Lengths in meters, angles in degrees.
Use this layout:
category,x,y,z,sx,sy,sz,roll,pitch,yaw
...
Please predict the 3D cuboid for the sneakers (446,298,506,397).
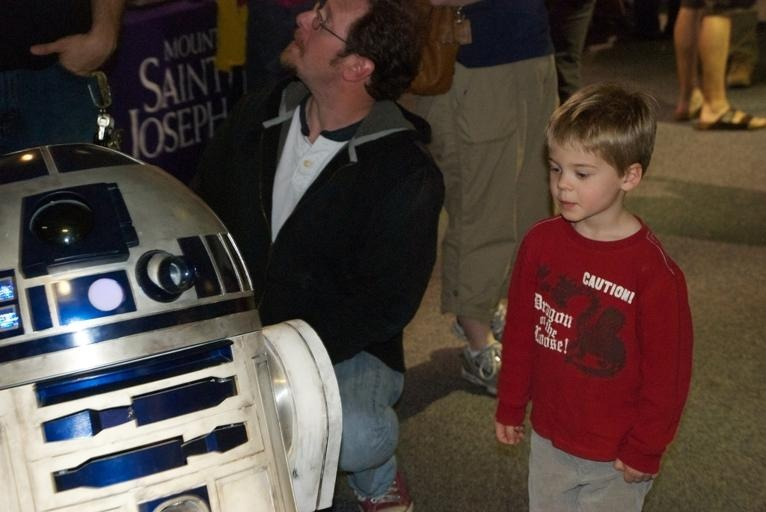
category,x,y,z,sx,sy,sz,roll,pitch,yaw
sneakers,0.357,0.332,2.647,0.131,0.164,0.385,-30,51,-13
